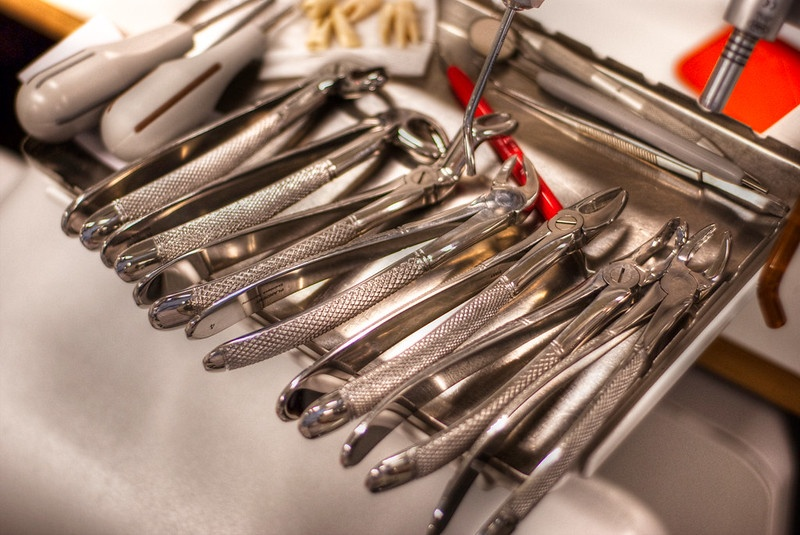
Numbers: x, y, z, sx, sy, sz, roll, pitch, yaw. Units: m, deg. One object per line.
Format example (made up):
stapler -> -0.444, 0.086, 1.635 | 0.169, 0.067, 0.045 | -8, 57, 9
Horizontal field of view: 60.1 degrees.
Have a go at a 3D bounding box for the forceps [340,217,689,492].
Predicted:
forceps -> 0.106, 0.089, 0.651 | 0.378, 0.046, 0.073 | -35, 63, -11

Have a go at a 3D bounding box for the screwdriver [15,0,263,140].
screwdriver -> -0.282, -0.248, 0.882 | 0.379, 0.092, 0.077 | -35, 22, -29

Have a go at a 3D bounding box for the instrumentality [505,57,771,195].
instrumentality -> 0.273, -0.163, 0.799 | 0.368, 0.034, 0.030 | 23, 9, -13

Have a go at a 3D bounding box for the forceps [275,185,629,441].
forceps -> 0.049, 0.049, 0.664 | 0.370, 0.042, 0.075 | -34, 58, -16

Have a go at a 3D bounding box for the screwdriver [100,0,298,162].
screwdriver -> -0.217, -0.248, 0.899 | 0.080, 0.094, 0.356 | 18, 49, 41

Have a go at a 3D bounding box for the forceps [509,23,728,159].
forceps -> 0.259, -0.194, 0.878 | 0.043, 0.047, 0.412 | 13, 21, -26
